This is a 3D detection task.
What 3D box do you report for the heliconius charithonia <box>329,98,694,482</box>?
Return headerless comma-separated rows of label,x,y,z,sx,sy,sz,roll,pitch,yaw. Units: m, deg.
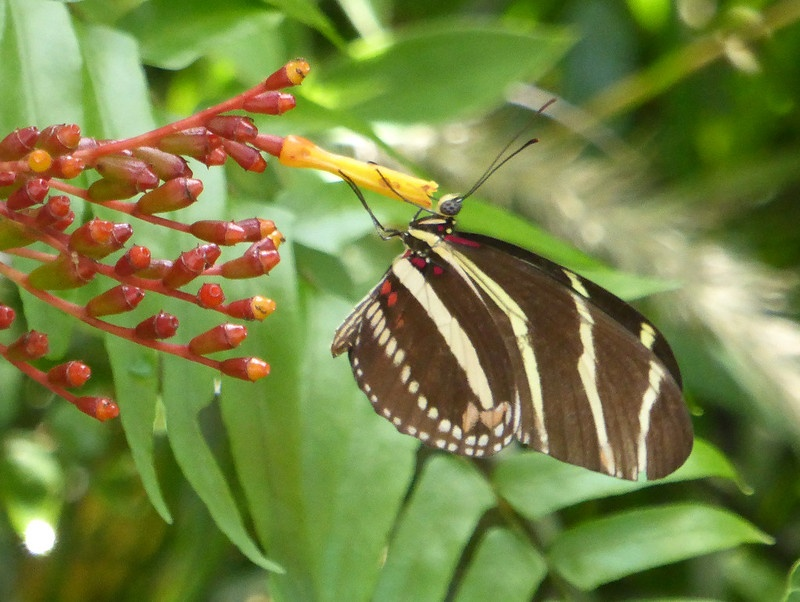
heliconius charithonia,0.118,-0.009,0.916,0.409,0.418,0.212,16,15,21
